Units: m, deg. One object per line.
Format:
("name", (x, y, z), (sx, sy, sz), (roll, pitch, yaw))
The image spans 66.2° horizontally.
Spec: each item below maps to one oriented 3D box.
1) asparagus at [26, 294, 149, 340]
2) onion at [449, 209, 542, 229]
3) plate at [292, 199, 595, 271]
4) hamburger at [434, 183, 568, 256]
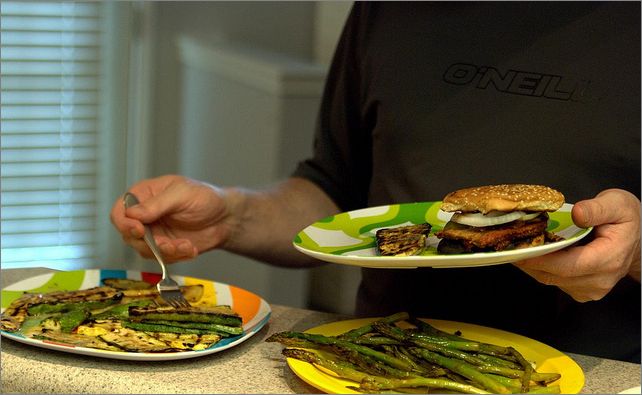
("asparagus", (-0.630, 0.299, 1.310), (0.185, 0.031, 0.125), (-7, 19, -41))
("onion", (0.406, 0.041, 1.144), (0.133, 0.040, 0.168), (2, 4, 38))
("plate", (0.217, 0.030, 1.178), (0.608, 0.199, 0.453), (-2, 11, -23))
("hamburger", (0.441, 0.048, 1.212), (0.319, 0.138, 0.276), (-14, 10, -42))
